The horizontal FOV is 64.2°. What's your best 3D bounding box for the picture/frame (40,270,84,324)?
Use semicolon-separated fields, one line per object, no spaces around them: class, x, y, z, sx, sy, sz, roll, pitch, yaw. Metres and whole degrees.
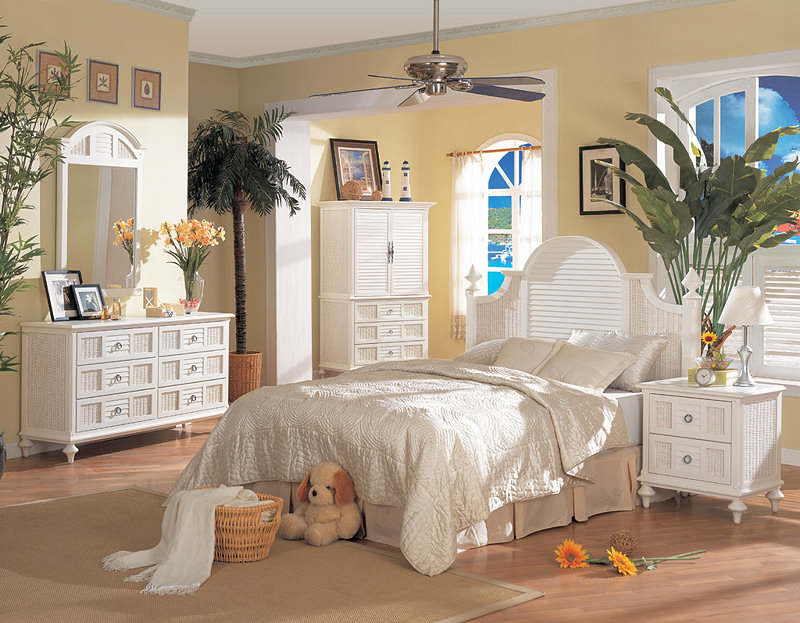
picture/frame;-2.589;-0.093;4.881;0.062;0.421;0.397;-13;0;33

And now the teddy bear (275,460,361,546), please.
teddy bear;-0.387;0.965;3.193;0.400;0.358;0.328;-4;-2;34

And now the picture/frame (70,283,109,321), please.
picture/frame;-2.430;-0.067;4.990;0.023;0.299;0.325;-16;-5;32

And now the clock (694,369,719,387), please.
clock;1.830;0.400;3.814;0.115;0.104;0.038;-1;1;34

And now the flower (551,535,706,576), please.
flower;1.033;1.156;2.940;0.512;0.150;0.236;5;6;-19

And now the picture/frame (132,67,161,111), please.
picture/frame;-2.212;-1.945;5.599;0.035;0.336;0.290;4;11;32

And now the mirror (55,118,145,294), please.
mirror;-2.457;-0.807;5.277;0.146;1.469;0.886;11;14;20

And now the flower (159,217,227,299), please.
flower;-1.881;-0.423;5.711;0.605;0.618;0.581;0;-10;-23

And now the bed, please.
bed;0.241;0.772;4.049;2.462;0.675;1.974;2;-1;-44

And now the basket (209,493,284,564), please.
basket;-0.670;1.067;3.009;0.384;0.219;0.352;16;-26;-31

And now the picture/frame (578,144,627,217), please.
picture/frame;1.637;-1.078;5.210;0.404;0.589;0.210;3;12;28

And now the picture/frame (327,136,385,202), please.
picture/frame;-0.409;-1.724;7.732;0.724;0.762;0.585;-8;11;-30

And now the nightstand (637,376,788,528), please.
nightstand;1.873;0.832;3.862;0.536;0.652;0.672;5;-6;-34

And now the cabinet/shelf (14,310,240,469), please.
cabinet/shelf;-2.209;0.584;5.305;0.563;0.894;1.579;2;1;26
